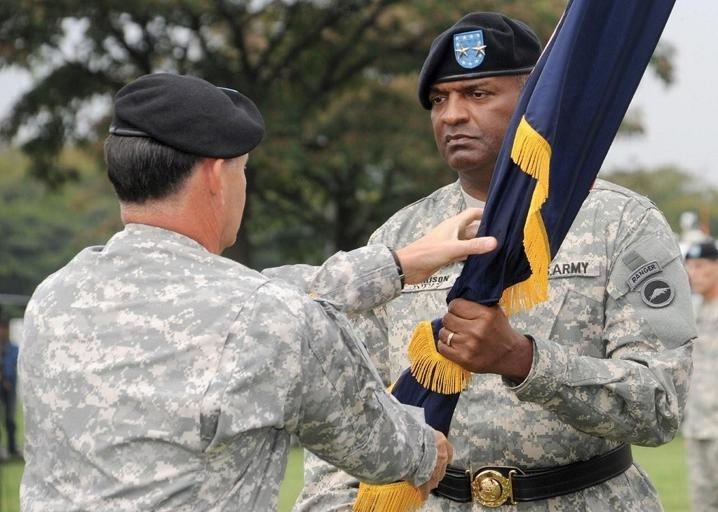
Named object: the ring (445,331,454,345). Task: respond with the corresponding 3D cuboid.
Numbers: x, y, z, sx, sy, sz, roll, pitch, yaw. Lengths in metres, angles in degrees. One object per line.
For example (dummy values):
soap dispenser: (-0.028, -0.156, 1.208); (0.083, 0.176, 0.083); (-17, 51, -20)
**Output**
ring: (0.642, 0.590, 11.324); (0.024, 0.074, 0.074); (13, -17, 17)
